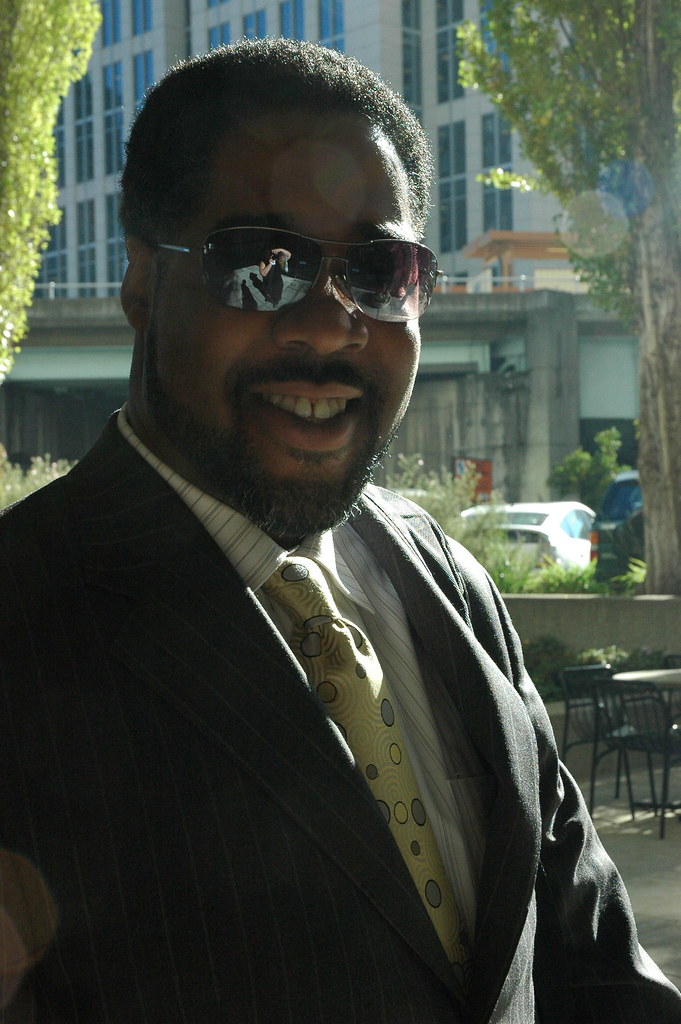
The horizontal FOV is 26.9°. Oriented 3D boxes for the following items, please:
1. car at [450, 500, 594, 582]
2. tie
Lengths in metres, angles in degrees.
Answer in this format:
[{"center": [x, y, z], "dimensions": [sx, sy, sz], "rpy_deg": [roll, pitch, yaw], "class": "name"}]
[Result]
[{"center": [2.648, 0.240, 18.209], "dimensions": [0.908, 0.615, 1.938], "rpy_deg": [1, 7, 23], "class": "car"}, {"center": [0.030, 0.310, 1.682], "dimensions": [0.097, 0.493, 0.102], "rpy_deg": [-27, -6, 25], "class": "tie"}]
